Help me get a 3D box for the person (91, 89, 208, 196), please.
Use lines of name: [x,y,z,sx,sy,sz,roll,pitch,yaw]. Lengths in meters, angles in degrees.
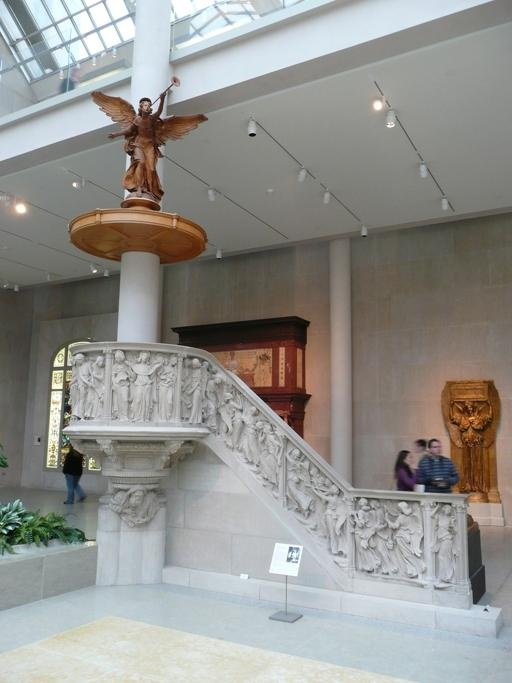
person: [-1.222,-2.194,6.663,1.351,1.142,0.378,4,3,-22]
